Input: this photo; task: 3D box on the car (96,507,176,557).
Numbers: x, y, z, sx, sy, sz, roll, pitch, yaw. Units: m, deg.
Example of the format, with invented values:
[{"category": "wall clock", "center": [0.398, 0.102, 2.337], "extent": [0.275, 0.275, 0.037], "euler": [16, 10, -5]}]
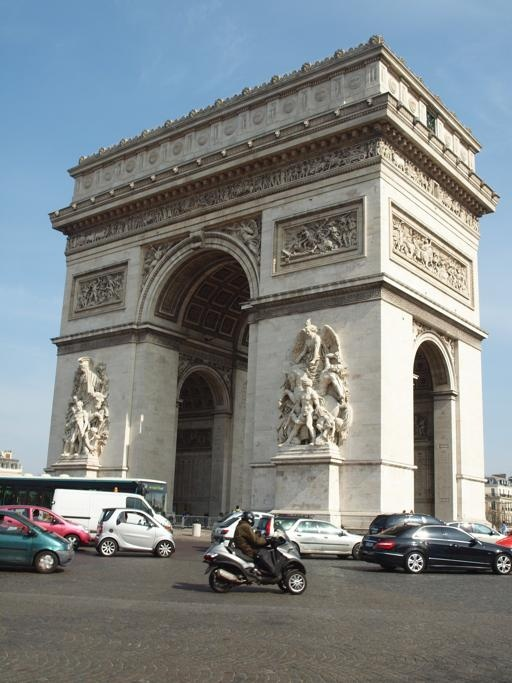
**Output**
[{"category": "car", "center": [-3.812, 5.993, 21.538], "extent": [2.383, 1.152, 1.360], "euler": [1, -10, -11]}]

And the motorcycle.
[{"category": "motorcycle", "center": [-0.027, 3.882, 12.040], "extent": [2.000, 1.259, 1.005], "euler": [2, -23, -11]}]

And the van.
[{"category": "van", "center": [-5.447, 6.321, 24.562], "extent": [3.885, 1.593, 2.057], "euler": [0, -9, -4]}]
